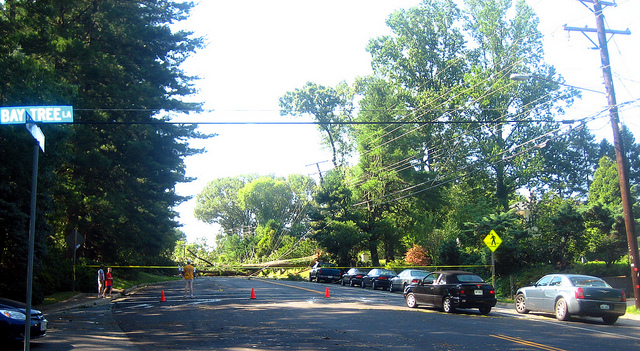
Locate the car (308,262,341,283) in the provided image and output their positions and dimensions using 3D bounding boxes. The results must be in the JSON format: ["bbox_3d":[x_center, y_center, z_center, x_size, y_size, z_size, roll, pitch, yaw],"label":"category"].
[{"bbox_3d":[0.689,11.768,70.376,2.499,1.829,5.255,2,-8,-12],"label":"car"}]

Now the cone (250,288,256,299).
[{"bbox_3d":[-5.496,9.871,48.559,0.706,0.921,0.688,0,-4,-24],"label":"cone"}]

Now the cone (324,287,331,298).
[{"bbox_3d":[0.722,9.997,49.234,0.532,0.661,0.521,0,-9,-7],"label":"cone"}]

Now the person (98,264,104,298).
[{"bbox_3d":[-18.595,8.939,49.185,0.390,2.716,0.724,5,-10,-19],"label":"person"}]

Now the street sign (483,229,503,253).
[{"bbox_3d":[15.749,5.941,52.480,2.380,2.480,0.221,-6,-19,19],"label":"street sign"}]

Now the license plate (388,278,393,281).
[{"bbox_3d":[7.043,10.305,57.832,0.402,0.267,0.214,-1,-1,21],"label":"license plate"}]
